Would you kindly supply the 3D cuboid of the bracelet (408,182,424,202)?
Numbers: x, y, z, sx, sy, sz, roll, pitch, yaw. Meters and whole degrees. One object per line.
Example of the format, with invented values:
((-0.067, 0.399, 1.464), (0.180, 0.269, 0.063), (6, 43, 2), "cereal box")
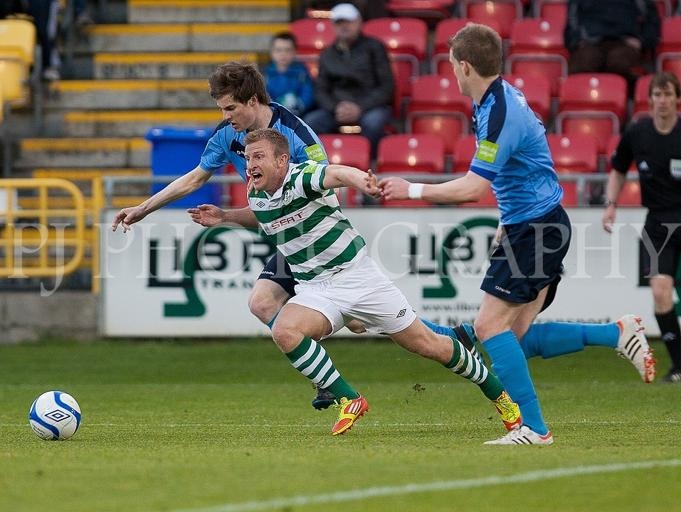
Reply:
((0.565, -0.454, 9.494), (0.126, 0.116, 0.093), (2, 7, 6), "bracelet")

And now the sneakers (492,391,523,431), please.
((1.278, 1.159, 9.923), (0.127, 0.332, 0.142), (-31, -27, 12), "sneakers")

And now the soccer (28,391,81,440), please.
((-2.175, 1.184, 10.013), (0.384, 0.359, 0.354), (-3, 20, -3), "soccer")

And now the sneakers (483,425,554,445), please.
((1.338, 1.321, 9.654), (0.548, 0.177, 0.174), (1, -12, 0), "sneakers")
